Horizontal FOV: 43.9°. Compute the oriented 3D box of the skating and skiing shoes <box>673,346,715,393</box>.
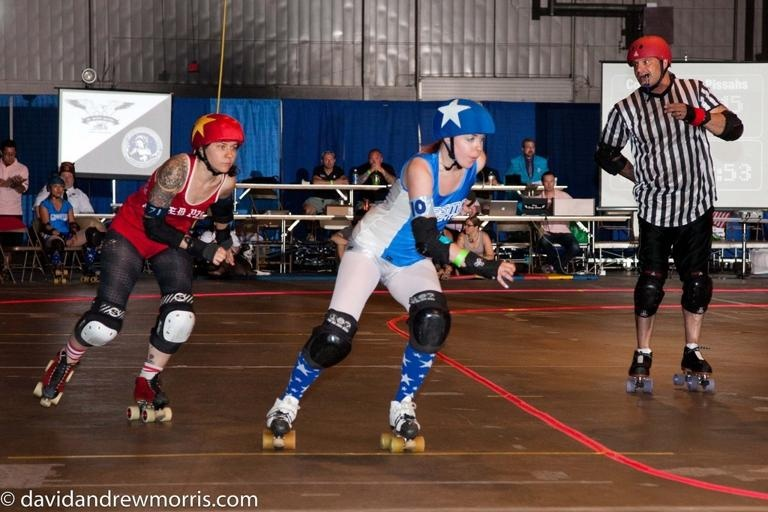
[{"bbox_3d":[2.323,0.830,7.051,0.232,0.302,0.485,0,0,2],"label":"skating and skiing shoes"}]

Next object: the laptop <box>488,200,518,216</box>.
[{"bbox_3d":[1.845,-0.743,14.698,0.351,0.237,0.247,0,21,-5],"label":"laptop"}]

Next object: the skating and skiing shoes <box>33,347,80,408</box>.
[{"bbox_3d":[-2.225,0.802,6.511,0.233,0.468,0.216,32,-50,-20],"label":"skating and skiing shoes"}]

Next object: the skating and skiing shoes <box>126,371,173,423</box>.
[{"bbox_3d":[-1.556,0.954,6.368,0.283,0.306,0.209,-1,-10,31],"label":"skating and skiing shoes"}]

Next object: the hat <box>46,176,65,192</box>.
[{"bbox_3d":[-4.841,-1.077,14.070,0.193,0.227,0.248,-1,-8,-35],"label":"hat"}]

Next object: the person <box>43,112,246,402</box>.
[{"bbox_3d":[-1.584,0.029,6.398,1.301,1.950,0.624,-2,7,-10],"label":"person"}]

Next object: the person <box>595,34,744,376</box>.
[{"bbox_3d":[2.112,-0.346,7.075,0.974,2.568,0.630,2,8,19],"label":"person"}]

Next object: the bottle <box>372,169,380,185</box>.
[{"bbox_3d":[-0.119,-1.258,15.016,0.122,0.244,0.320,-3,21,-2],"label":"bottle"}]

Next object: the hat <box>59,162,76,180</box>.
[{"bbox_3d":[-4.770,-1.305,14.376,0.215,0.247,0.261,3,-3,-10],"label":"hat"}]

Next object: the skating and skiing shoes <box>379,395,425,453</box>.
[{"bbox_3d":[0.130,1.079,6.019,0.249,0.303,0.478,2,0,-10],"label":"skating and skiing shoes"}]

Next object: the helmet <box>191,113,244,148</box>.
[{"bbox_3d":[-1.096,-0.812,6.298,0.289,0.232,0.232,-6,0,34],"label":"helmet"}]

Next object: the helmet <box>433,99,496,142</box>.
[{"bbox_3d":[0.505,-0.872,5.958,0.331,0.211,0.247,15,14,25],"label":"helmet"}]

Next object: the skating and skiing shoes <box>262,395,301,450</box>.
[{"bbox_3d":[-0.636,1.046,5.922,0.180,0.330,0.144,1,-2,-3],"label":"skating and skiing shoes"}]

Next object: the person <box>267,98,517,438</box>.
[{"bbox_3d":[0.091,0.080,5.973,1.411,2.114,0.586,-1,7,-7],"label":"person"}]

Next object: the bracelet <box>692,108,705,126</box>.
[{"bbox_3d":[2.284,-1.013,6.900,0.093,0.091,0.118,20,29,-10],"label":"bracelet"}]

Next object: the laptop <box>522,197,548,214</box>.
[{"bbox_3d":[2.308,-0.760,14.434,0.331,0.228,0.251,0,-4,5],"label":"laptop"}]
